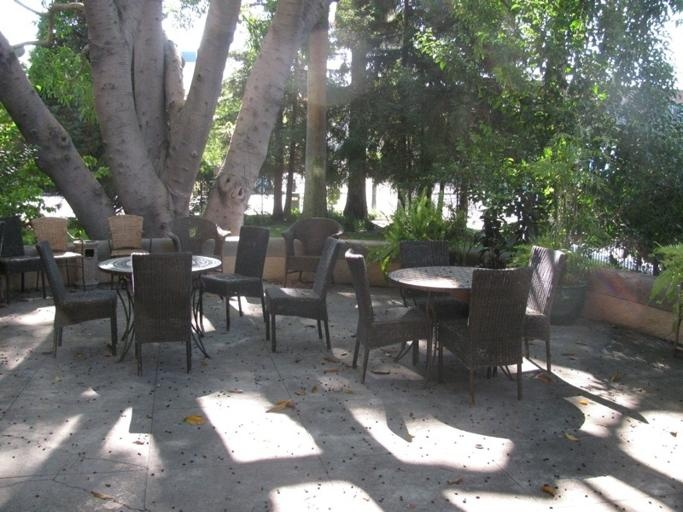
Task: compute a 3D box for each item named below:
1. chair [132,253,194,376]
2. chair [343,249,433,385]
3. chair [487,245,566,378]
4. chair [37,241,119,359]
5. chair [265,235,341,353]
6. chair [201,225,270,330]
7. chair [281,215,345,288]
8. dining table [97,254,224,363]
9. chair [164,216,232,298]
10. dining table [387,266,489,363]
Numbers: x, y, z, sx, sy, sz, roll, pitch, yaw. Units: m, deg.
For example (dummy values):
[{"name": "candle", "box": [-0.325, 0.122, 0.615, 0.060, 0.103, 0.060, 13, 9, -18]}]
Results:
[{"name": "chair", "box": [-1.812, 0.708, 5.410, 0.657, 1.197, 0.799, -7, -25, -6]}, {"name": "chair", "box": [0.519, 0.535, 5.970, 0.822, 1.282, 1.715, 1, 5, 6]}, {"name": "chair", "box": [1.875, 0.562, 5.790, 0.774, 1.323, 0.767, 2, 8, 6]}, {"name": "chair", "box": [-2.835, 0.431, 5.865, 0.752, 1.150, 0.627, -3, 10, -29]}, {"name": "chair", "box": [-0.473, 0.401, 6.233, 0.795, 1.228, 0.730, 2, 9, -6]}, {"name": "chair", "box": [-1.206, 0.226, 6.811, 0.651, 1.146, 0.738, 4, -1, 12]}, {"name": "chair", "box": [-0.517, -0.075, 8.779, 0.926, 1.156, 0.833, 1, 3, -6]}, {"name": "dining table", "box": [-2.124, 0.313, 6.335, 1.322, 1.119, 1.386, -1, 12, -14]}, {"name": "chair", "box": [-2.338, -0.227, 8.593, 0.942, 0.961, 0.839, -1, -3, 5]}, {"name": "dining table", "box": [0.977, 0.494, 5.570, 0.869, 0.728, 0.909, -2, 9, -17]}]
